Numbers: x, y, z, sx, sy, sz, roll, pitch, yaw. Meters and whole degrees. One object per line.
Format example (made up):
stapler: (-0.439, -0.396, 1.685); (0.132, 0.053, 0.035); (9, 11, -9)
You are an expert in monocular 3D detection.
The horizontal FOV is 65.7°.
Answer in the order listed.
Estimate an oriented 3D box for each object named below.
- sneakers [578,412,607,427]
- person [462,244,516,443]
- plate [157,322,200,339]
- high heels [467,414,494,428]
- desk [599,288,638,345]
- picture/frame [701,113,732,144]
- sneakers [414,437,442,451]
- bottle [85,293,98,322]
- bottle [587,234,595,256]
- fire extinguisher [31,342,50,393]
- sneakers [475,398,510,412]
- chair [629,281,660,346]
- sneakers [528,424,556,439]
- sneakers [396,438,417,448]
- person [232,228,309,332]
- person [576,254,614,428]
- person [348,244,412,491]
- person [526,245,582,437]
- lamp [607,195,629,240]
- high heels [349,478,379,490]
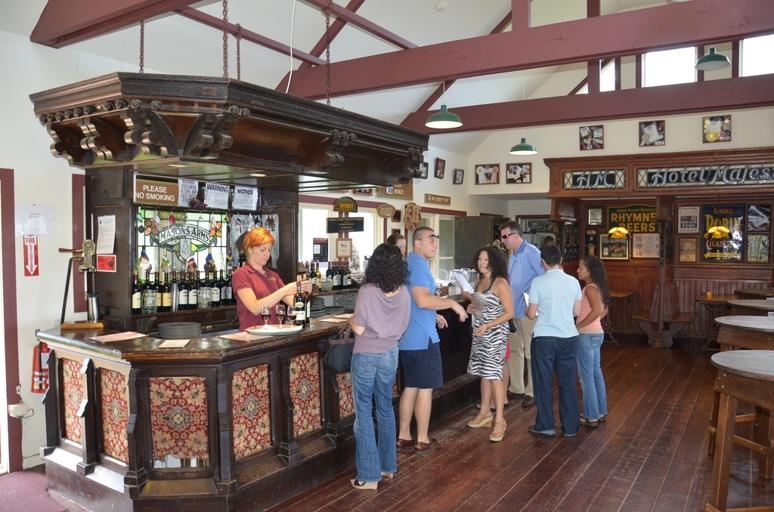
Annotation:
sneakers: (2.442, 1.984, 7.145); (0.150, 0.119, 0.284); (-3, 4, -28)
person: (1.166, 0.982, 6.865); (0.534, 2.166, 0.446); (7, 10, 37)
plate: (-2.022, 0.728, 5.850); (0.386, 0.126, 0.306); (-1, 8, -11)
high heels: (1.119, 1.986, 7.188); (0.320, 0.126, 0.121); (3, -5, -23)
desk: (4.318, 1.137, 11.158); (0.633, 0.600, 1.252); (1, 3, 27)
picture/frame: (6.195, -2.414, 11.284); (0.586, 0.619, 0.049); (1, -6, 21)
sneakers: (0.453, 2.078, 6.587); (0.244, 0.096, 0.109); (-3, 2, -41)
bottle: (-3.063, 0.538, 6.284); (0.092, 0.289, 0.145); (-3, 9, -28)
bottle: (4.471, -0.260, 13.155); (0.182, 0.408, 0.145); (3, 8, 15)
fire extinguisher: (-3.569, 1.147, 6.221); (0.165, 0.526, 0.270); (-4, 9, -31)
sneakers: (1.381, 1.950, 7.816); (0.550, 0.218, 0.167); (2, -1, 2)
chair: (5.053, 1.144, 11.770); (0.345, 0.780, 1.179); (4, 3, 28)
sneakers: (1.775, 2.014, 6.852); (0.132, 0.125, 0.273); (0, 3, -27)
sneakers: (0.216, 2.063, 6.583); (0.213, 0.090, 0.078); (0, 0, -34)
person: (-1.200, 0.457, 6.333); (0.803, 1.438, 0.665); (4, 5, 9)
person: (2.446, 1.018, 7.140); (0.417, 1.989, 0.541); (4, 8, 20)
person: (-0.058, 1.080, 5.825); (0.570, 2.375, 0.331); (-1, 8, -16)
person: (1.861, 1.115, 6.744); (0.610, 1.911, 0.267); (2, 8, 10)
lamp: (4.855, -0.796, 12.613); (0.441, 0.847, 0.942); (4, 8, 20)
high heels: (-0.224, 2.234, 5.818); (0.243, 0.105, 0.106); (4, 0, 11)
